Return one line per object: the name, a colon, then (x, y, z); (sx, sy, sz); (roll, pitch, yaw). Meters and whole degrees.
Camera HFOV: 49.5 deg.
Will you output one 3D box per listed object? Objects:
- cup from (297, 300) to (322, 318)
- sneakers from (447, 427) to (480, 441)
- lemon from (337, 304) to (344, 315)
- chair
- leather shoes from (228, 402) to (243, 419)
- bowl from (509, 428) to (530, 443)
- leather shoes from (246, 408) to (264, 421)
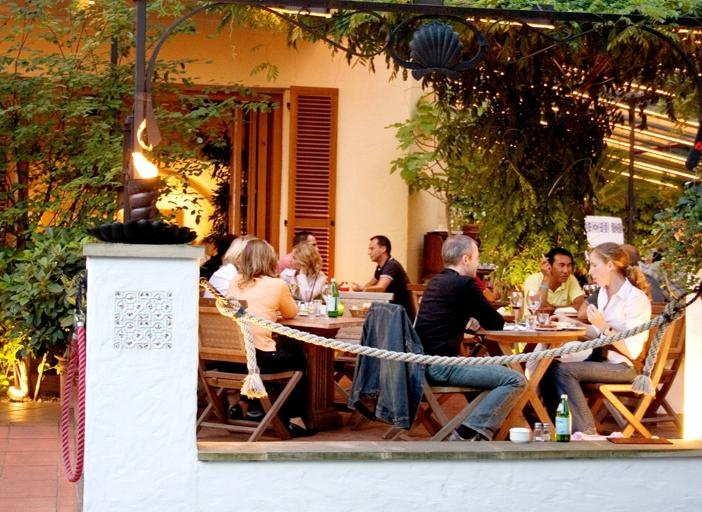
cup: (-0.371, 0.481, 7.025); (0.162, 0.108, 0.180); (2, -4, -38)
sneakers: (0.811, 1.303, 5.621); (0.278, 0.106, 0.095); (-2, -3, 6)
lemon: (-0.085, 0.499, 7.215); (0.093, 0.106, 0.091); (2, -7, -12)
chair: (0.608, 0.499, 5.094); (3.093, 0.878, 0.990); (2, 15, -2)
leather shoes: (-1.094, 1.472, 7.248); (0.117, 0.156, 0.159); (2, -12, -4)
bowl: (1.056, 1.109, 4.757); (0.109, 0.079, 0.090); (4, 15, 3)
leather shoes: (-0.885, 1.446, 7.026); (0.180, 0.117, 0.100); (5, 0, 24)
